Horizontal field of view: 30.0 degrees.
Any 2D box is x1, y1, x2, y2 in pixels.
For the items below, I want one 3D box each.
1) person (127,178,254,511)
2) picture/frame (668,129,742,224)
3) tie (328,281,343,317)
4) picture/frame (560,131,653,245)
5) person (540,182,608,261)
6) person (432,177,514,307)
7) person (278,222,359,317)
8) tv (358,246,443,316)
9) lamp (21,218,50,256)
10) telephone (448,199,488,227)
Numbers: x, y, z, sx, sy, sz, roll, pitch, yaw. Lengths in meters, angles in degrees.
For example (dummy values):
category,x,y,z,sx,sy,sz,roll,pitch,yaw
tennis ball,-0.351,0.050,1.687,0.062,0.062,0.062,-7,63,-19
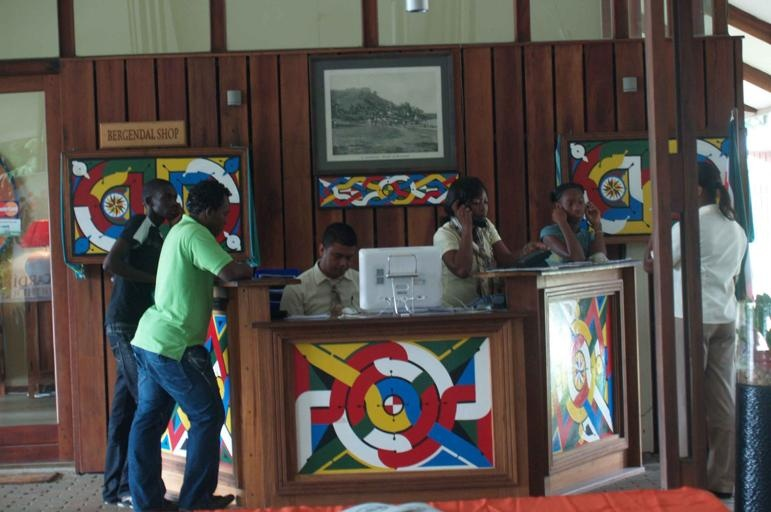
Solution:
category,x,y,z,sx,sy,sz,roll,pitch,yaw
person,-1.649,0.751,11.711,0.948,2.716,0.489,-2,4,-5
picture/frame,2.686,-0.644,12.118,0.635,1.018,0.057,0,-9,0
tie,-0.418,0.369,12.122,0.121,0.236,0.073,0,4,0
picture/frame,1.956,-0.626,12.939,0.737,0.954,0.121,0,-2,0
person,1.671,-0.306,12.685,0.614,0.677,0.620,-5,6,-22
person,0.805,0.159,12.405,0.690,1.717,0.650,2,15,3
person,-0.468,0.166,12.247,0.740,0.970,0.461,5,10,-27
tv,0.146,0.185,11.688,0.577,0.569,0.365,-2,16,5
lamp,-3.174,-0.203,13.050,0.203,0.186,0.217,-2,2,20
telephone,0.719,-0.382,12.248,0.228,0.295,0.208,-2,-9,-6
